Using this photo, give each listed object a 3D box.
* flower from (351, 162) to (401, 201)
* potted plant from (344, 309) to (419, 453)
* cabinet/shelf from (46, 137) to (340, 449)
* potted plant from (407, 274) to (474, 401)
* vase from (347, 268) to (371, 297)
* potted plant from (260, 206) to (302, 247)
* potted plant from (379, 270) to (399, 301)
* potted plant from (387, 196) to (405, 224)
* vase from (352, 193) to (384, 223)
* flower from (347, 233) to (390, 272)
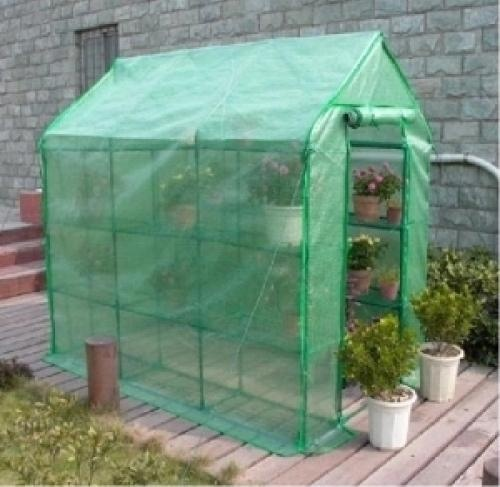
[{"bbox_3d":[1.062,-0.525,7.335,0.302,0.212,0.308,1,12,-1],"label":"flower"},{"bbox_3d":[0.941,1.038,6.560,0.582,0.960,0.537,-7,3,32],"label":"potted plant"},{"bbox_3d":[-0.360,0.407,6.864,2.229,1.758,0.826,6,7,43],"label":"cabinet/shelf"},{"bbox_3d":[1.603,0.815,7.198,0.518,0.964,0.402,2,7,14],"label":"potted plant"},{"bbox_3d":[0.922,0.319,7.377,0.199,0.171,0.221,-1,-1,-3],"label":"vase"},{"bbox_3d":[0.247,-0.129,6.429,0.236,0.239,0.149,14,22,40],"label":"potted plant"},{"bbox_3d":[1.168,0.338,7.265,0.206,0.231,0.210,0,-3,2],"label":"potted plant"},{"bbox_3d":[1.208,-0.288,7.278,0.193,0.304,0.195,0,0,1],"label":"potted plant"},{"bbox_3d":[0.998,-0.301,7.376,0.258,0.216,0.209,2,5,17],"label":"vase"},{"bbox_3d":[0.956,0.050,7.426,0.358,0.376,0.287,1,2,-24],"label":"flower"}]
